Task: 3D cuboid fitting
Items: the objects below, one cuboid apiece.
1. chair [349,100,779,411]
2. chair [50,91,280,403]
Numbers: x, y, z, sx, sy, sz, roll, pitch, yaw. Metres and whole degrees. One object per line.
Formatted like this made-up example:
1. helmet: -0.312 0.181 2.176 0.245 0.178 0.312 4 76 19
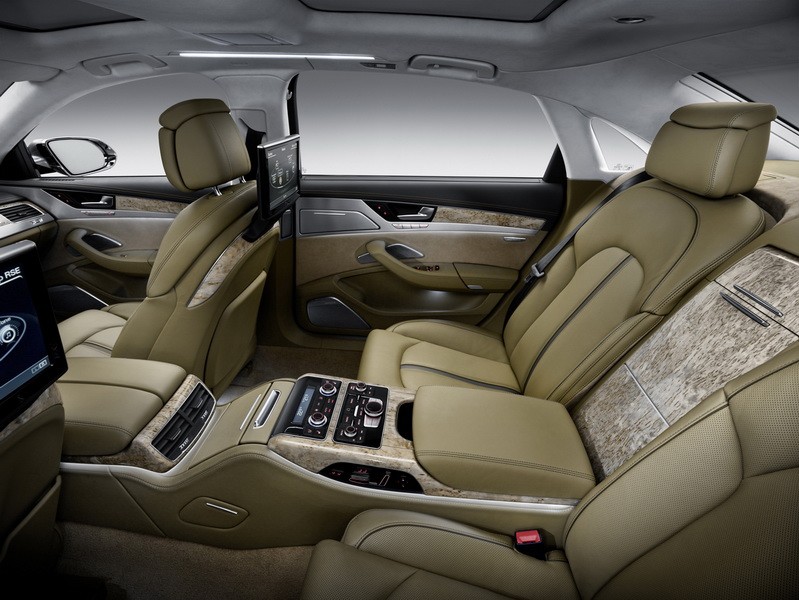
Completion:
1. chair: 0.460 -0.099 1.843 1.255 1.202 0.962 7 22 8
2. chair: -0.905 -0.153 1.857 0.844 1.175 0.513 2 27 -13
